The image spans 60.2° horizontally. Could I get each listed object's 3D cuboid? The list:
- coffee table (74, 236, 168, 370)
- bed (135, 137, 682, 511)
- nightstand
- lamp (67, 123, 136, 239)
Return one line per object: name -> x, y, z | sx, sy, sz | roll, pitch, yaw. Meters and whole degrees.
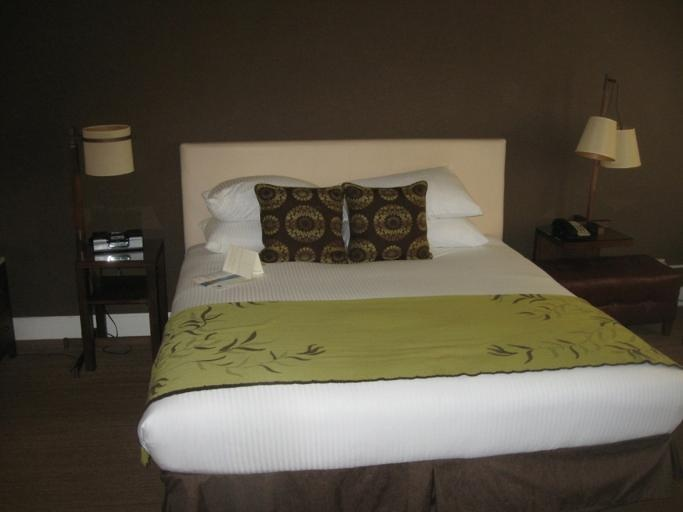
coffee table -> -1.580, 0.400, 4.211 | 0.559, 0.741, 0.525 | -3, 3, -9
bed -> 0.197, 0.607, 3.765 | 2.409, 1.396, 2.289 | -1, 16, -4
nightstand -> 1.864, -0.075, 4.696 | 0.542, 0.271, 0.370 | -2, 17, -4
lamp -> -1.677, -0.511, 4.180 | 0.454, 0.790, 0.504 | -5, 17, -14
